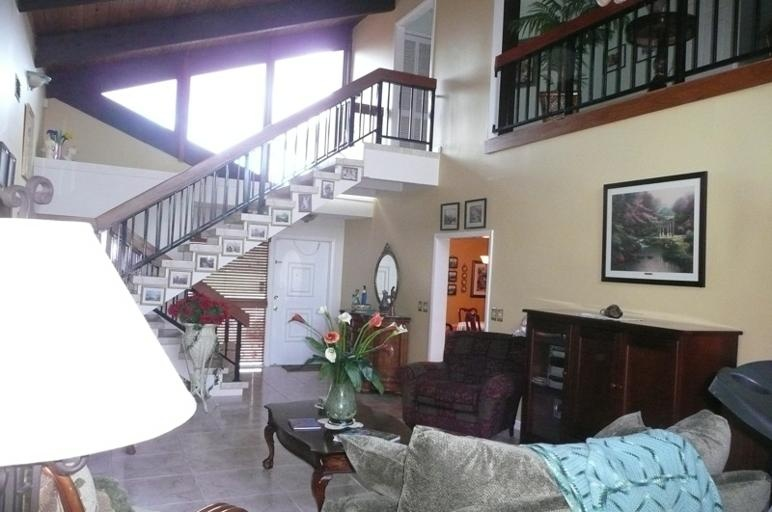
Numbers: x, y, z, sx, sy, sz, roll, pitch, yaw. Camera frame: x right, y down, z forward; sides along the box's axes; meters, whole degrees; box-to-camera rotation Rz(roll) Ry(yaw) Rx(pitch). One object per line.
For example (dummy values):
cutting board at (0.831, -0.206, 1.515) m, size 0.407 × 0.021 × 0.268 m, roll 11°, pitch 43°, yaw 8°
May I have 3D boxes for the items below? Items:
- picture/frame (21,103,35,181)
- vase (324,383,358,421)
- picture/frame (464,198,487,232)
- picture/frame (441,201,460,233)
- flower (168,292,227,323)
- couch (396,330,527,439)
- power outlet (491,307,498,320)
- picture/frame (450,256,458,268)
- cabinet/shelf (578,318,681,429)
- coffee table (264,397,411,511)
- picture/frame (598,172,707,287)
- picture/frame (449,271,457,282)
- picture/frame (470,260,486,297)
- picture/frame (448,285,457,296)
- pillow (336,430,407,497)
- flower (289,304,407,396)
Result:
picture/frame at (-4.068, -1.275, 6.448) m, size 0.041 × 0.691 × 1.271 m, roll 2°, pitch 0°, yaw -28°
vase at (-0.334, 1.118, 4.383) m, size 0.268 × 0.259 × 0.270 m, roll 4°, pitch -8°, yaw -30°
picture/frame at (1.091, -0.493, 6.822) m, size 0.034 × 0.418 × 0.400 m, roll 9°, pitch -10°, yaw -33°
picture/frame at (0.826, -0.489, 7.206) m, size 0.031 × 0.395 × 0.407 m, roll 7°, pitch -6°, yaw -34°
flower at (-2.047, 0.614, 6.406) m, size 0.406 × 0.299 × 0.407 m, roll 4°, pitch 0°, yaw 12°
couch at (0.820, 1.319, 5.760) m, size 1.245 × 1.098 × 0.989 m, roll -3°, pitch -8°, yaw 38°
power outlet at (1.250, 0.667, 6.500) m, size 0.017 × 0.146 × 0.122 m, roll 2°, pitch 0°, yaw -28°
picture/frame at (1.207, 0.103, 10.127) m, size 0.224 × 0.248 × 0.024 m, roll 1°, pitch 0°, yaw -31°
cabinet/shelf at (1.829, 0.877, 4.206) m, size 0.350 × 0.799 × 0.827 m, roll 6°, pitch -7°, yaw -25°
coffee table at (-0.332, 1.654, 4.182) m, size 0.861 × 0.521 × 1.080 m, roll 4°, pitch -2°, yaw -26°
picture/frame at (2.307, -0.224, 4.824) m, size 0.074 × 1.034 × 1.033 m, roll 4°, pitch -2°, yaw -36°
picture/frame at (1.185, 0.370, 10.119) m, size 0.195 × 0.180 × 0.018 m, roll 6°, pitch -5°, yaw -38°
picture/frame at (1.674, 0.419, 10.357) m, size 0.054 × 0.725 × 0.651 m, roll -3°, pitch -5°, yaw 43°
picture/frame at (1.180, 0.610, 10.111) m, size 0.211 × 0.175 × 0.022 m, roll 3°, pitch -4°, yaw -37°
pillow at (-0.033, 0.888, 2.376) m, size 0.368 × 0.241 × 0.115 m, roll 2°, pitch 0°, yaw 43°
flower at (-0.406, 1.107, 6.549) m, size 1.360 × 0.849 × 1.360 m, roll 7°, pitch 2°, yaw 39°
